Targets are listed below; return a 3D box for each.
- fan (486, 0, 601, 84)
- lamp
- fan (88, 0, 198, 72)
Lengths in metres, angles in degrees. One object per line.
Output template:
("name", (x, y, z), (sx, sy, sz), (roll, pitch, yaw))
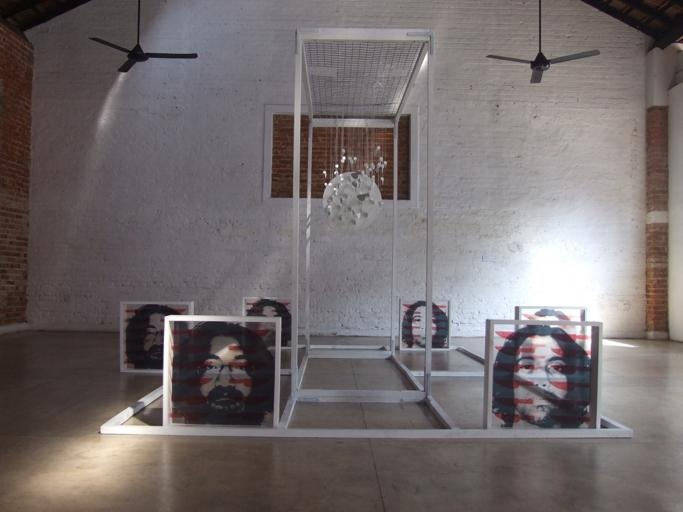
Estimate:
("fan", (3.243, -3.460, 11.731), (1.518, 1.518, 1.548), (4, -3, -9))
("lamp", (0.236, -1.281, 10.930), (1.054, 1.532, 1.953), (4, 0, -2))
("fan", (-2.877, -3.438, 10.926), (1.401, 1.200, 2.064), (4, 0, -11))
